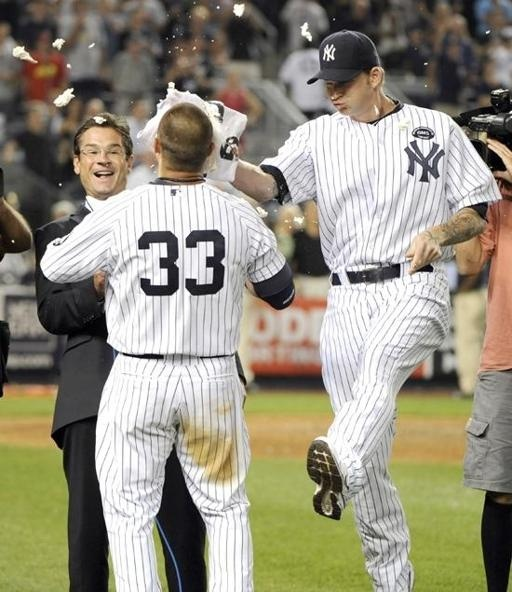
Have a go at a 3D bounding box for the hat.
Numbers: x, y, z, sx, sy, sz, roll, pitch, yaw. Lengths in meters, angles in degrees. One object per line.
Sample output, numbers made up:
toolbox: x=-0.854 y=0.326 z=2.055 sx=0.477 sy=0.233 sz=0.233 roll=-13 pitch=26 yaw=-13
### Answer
hat: x=0.391 y=-1.137 z=5.631 sx=0.266 sy=0.222 sz=0.394 roll=8 pitch=24 yaw=43

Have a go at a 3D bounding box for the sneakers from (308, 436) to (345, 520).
sneakers: x=0.313 y=0.790 z=5.142 sx=0.135 sy=0.369 sz=0.152 roll=-1 pitch=13 yaw=25
